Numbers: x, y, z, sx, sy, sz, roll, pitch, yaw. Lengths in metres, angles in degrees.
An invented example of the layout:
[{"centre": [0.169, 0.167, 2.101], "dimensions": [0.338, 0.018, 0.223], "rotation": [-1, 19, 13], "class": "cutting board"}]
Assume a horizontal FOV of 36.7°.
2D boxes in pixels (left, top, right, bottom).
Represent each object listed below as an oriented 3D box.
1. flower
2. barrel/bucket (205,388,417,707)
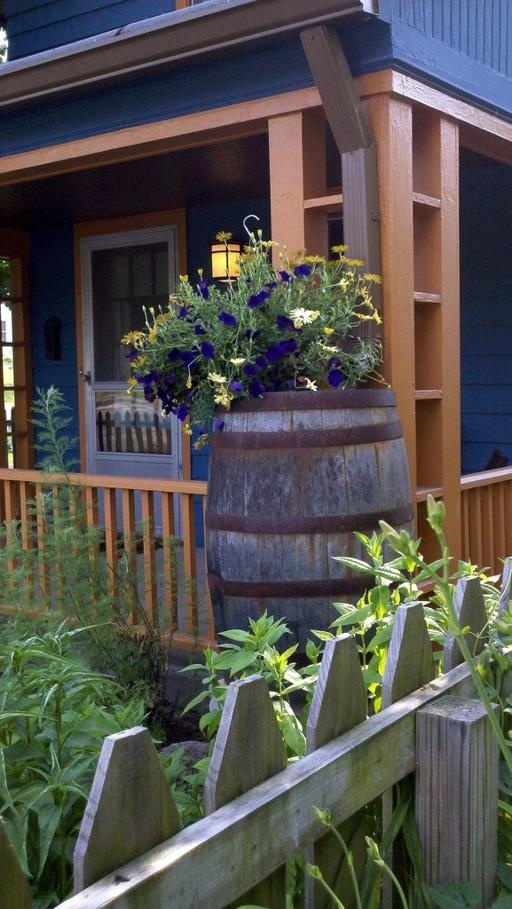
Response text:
[{"centre": [0.114, -0.403, 2.377], "dimensions": [0.483, 0.445, 0.558], "rotation": [-10, 28, -21], "class": "flower"}, {"centre": [0.118, 0.032, 2.242], "dimensions": [0.559, 0.844, 0.610], "rotation": [0, 29, 0], "class": "barrel/bucket"}]
